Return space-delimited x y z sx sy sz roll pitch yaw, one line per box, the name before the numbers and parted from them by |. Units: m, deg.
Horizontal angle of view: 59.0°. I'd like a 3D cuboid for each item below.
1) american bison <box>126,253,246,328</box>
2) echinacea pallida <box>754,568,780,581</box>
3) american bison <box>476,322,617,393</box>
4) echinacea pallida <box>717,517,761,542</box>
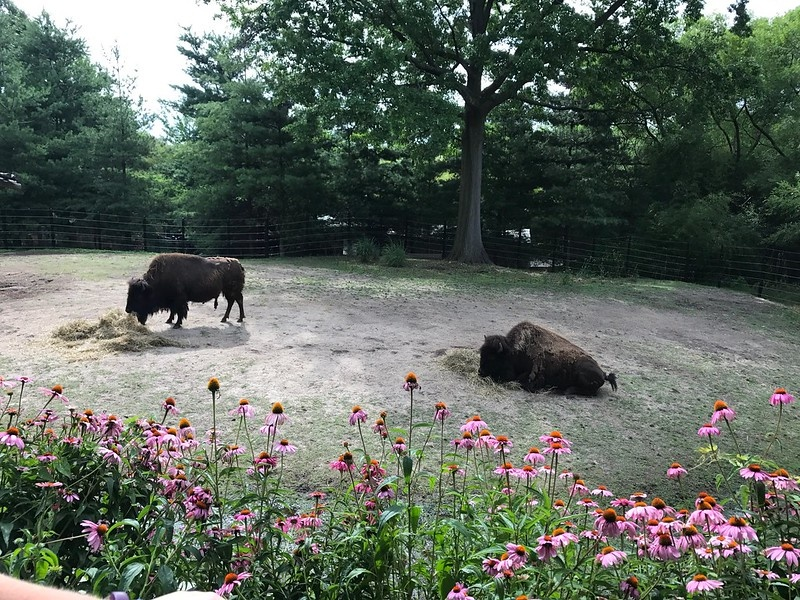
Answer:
american bison | -3.564 -0.199 11.928 2.003 1.167 0.698 -5 11 -37
echinacea pallida | 2.601 1.942 4.999 0.110 0.036 0.116 7 -7 -40
american bison | 1.864 0.860 9.626 1.512 0.847 1.539 -1 13 -35
echinacea pallida | 2.371 1.600 4.947 0.237 0.122 0.248 -6 0 45
